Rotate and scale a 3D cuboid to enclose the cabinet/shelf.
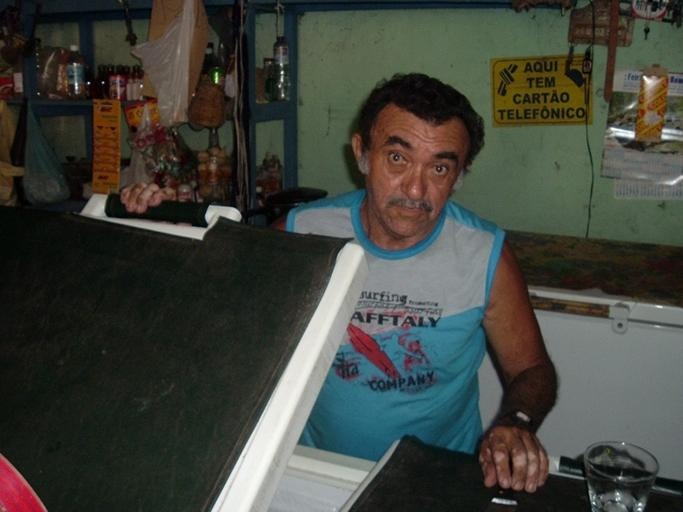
[{"bbox_3d":[-0.898,-0.696,2.844,1.205,1.247,0.414,-1,-2,18],"label":"cabinet/shelf"}]

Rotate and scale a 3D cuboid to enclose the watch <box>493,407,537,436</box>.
[{"bbox_3d":[0.413,0.376,1.421,0.065,0.076,0.069,23,-10,-20],"label":"watch"}]
